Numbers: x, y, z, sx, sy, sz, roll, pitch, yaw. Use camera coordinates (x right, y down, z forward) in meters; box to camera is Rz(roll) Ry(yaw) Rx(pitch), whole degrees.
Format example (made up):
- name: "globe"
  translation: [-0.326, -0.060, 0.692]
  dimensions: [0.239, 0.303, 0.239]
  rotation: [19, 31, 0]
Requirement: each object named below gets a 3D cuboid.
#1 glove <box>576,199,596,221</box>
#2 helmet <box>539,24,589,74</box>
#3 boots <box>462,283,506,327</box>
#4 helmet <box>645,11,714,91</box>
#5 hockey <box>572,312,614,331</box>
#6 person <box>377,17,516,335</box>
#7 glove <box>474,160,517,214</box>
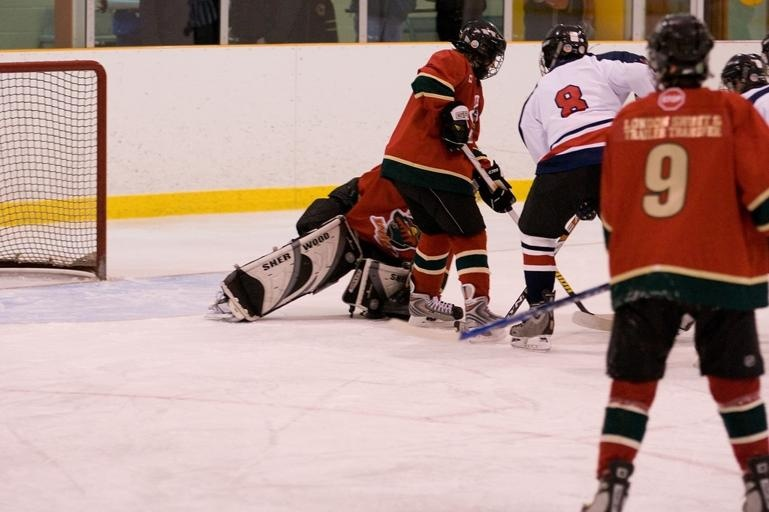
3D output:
- name: "glove"
  translation: [0.976, -0.220, 4.714]
  dimensions: [0.089, 0.097, 0.109]
  rotation: [6, 8, 10]
- name: "helmet"
  translation: [0.820, -0.972, 4.621]
  dimensions: [0.233, 0.216, 0.255]
  rotation: [-2, 5, -15]
- name: "boots"
  translation: [0.464, 0.252, 4.701]
  dimensions: [0.185, 0.225, 0.156]
  rotation: [1, 15, 5]
- name: "helmet"
  translation: [0.888, -0.617, 2.949]
  dimensions: [0.191, 0.223, 0.133]
  rotation: [6, 16, 25]
- name: "hockey"
  translation: [1.048, 0.325, 4.895]
  dimensions: [0.181, 0.037, 0.188]
  rotation: [4, 4, 31]
- name: "person"
  translation: [0.325, -0.380, 4.790]
  dimensions: [0.659, 1.514, 0.626]
  rotation: [-2, 15, -6]
- name: "glove"
  translation: [0.572, -0.353, 4.973]
  dimensions: [0.181, 0.288, 0.126]
  rotation: [-39, -3, 15]
